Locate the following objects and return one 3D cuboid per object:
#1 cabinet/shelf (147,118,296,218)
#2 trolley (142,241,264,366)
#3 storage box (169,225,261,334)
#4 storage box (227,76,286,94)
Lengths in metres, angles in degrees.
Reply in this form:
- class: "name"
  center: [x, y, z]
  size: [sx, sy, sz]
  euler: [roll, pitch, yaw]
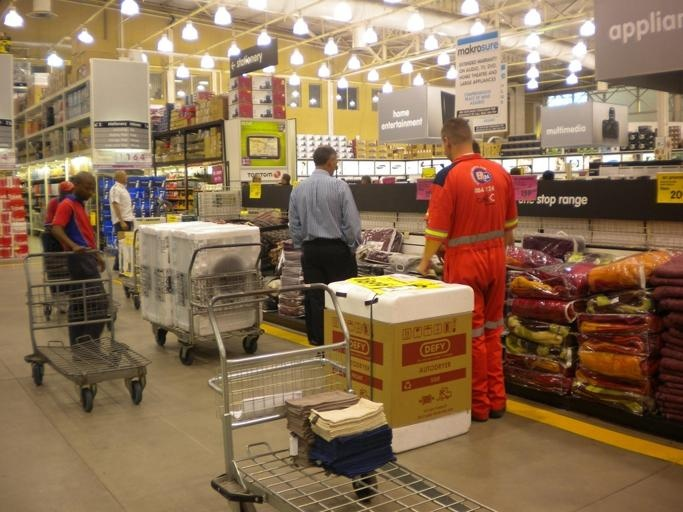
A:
- class: "cabinet/shelf"
  center: [-2.492, -1.881, 11.557]
  size: [1.145, 2.498, 3.222]
  euler: [-5, 8, -45]
- class: "trolley"
  center: [-1.845, 0.346, 5.816]
  size: [1.032, 1.289, 1.561]
  euler: [-5, 11, -37]
- class: "storage box"
  center: [-1.251, 0.179, 6.103]
  size: [1.088, 1.319, 1.170]
  euler: [-5, 6, -39]
- class: "storage box"
  center: [-1.716, -3.551, 11.242]
  size: [1.080, 0.328, 0.456]
  euler: [-4, 9, -9]
